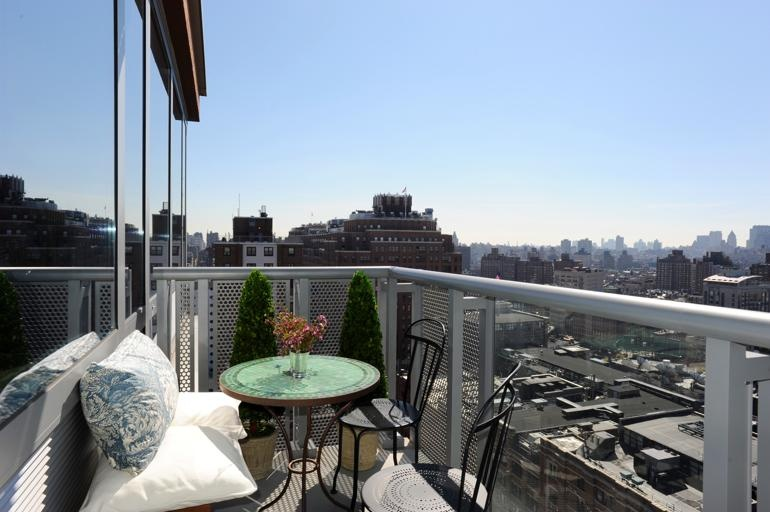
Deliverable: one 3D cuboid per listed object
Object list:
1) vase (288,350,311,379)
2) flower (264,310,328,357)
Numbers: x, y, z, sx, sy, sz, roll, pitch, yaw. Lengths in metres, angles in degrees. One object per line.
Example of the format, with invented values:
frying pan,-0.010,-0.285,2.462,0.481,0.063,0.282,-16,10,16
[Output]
vase,-0.534,0.659,3.431,0.114,0.152,0.157,3,2,-11
flower,-0.561,0.478,3.545,0.386,0.280,0.402,3,5,-3
